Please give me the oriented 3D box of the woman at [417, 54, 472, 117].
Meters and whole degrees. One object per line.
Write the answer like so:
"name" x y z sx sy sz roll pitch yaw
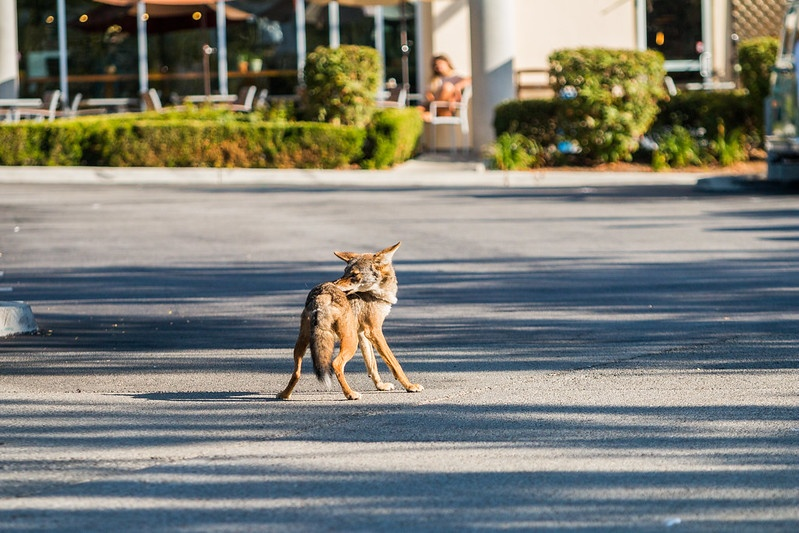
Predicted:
"woman" 0.906 -3.965 39.276 0.804 1.621 1.187 -10 -5 44

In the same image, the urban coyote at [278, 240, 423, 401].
"urban coyote" -0.653 0.654 22.436 0.943 1.947 1.938 -5 1 37

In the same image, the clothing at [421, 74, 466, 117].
"clothing" 0.992 -3.782 39.244 0.961 0.832 1.281 -7 15 -25
